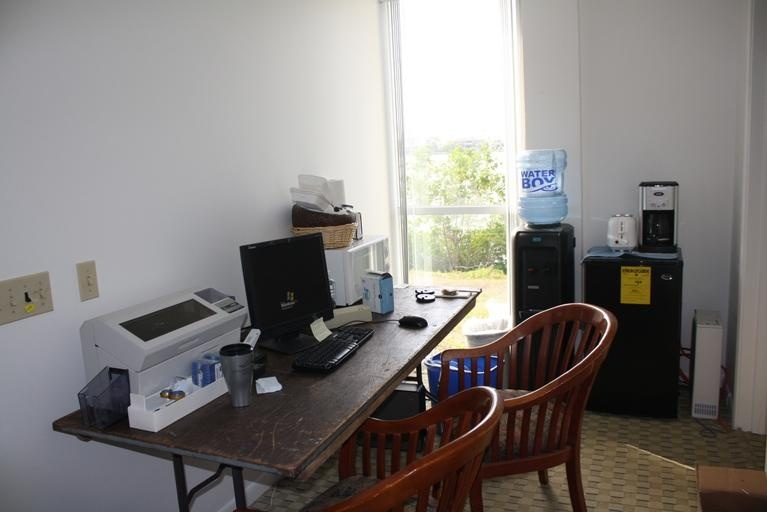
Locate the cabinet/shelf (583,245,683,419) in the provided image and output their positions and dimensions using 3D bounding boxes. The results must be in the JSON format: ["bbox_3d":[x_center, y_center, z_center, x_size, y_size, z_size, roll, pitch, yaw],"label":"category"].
[{"bbox_3d":[1.913,0.476,3.812,0.743,1.049,0.698,1,8,43],"label":"cabinet/shelf"}]

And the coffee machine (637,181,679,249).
[{"bbox_3d":[1.899,-0.276,3.707,0.227,0.464,0.267,3,11,31],"label":"coffee machine"}]

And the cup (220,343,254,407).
[{"bbox_3d":[-0.639,0.533,2.379,0.160,0.244,0.156,-5,-2,0],"label":"cup"}]

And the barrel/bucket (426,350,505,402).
[{"bbox_3d":[0.529,0.809,3.635,0.489,0.339,0.410,-2,2,23],"label":"barrel/bucket"}]

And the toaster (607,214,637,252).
[{"bbox_3d":[1.673,-0.165,3.866,0.208,0.257,0.275,0,7,4],"label":"toaster"}]

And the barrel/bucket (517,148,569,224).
[{"bbox_3d":[1.221,-0.518,4.158,0.393,0.570,0.404,-2,7,0],"label":"barrel/bucket"}]

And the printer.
[{"bbox_3d":[-1.003,0.425,2.547,0.487,0.424,0.658,8,14,20],"label":"printer"}]

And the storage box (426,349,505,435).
[{"bbox_3d":[0.533,0.882,3.634,0.530,0.349,0.454,-3,0,14],"label":"storage box"}]

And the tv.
[{"bbox_3d":[-0.504,0.217,2.806,0.315,0.575,0.548,2,14,43],"label":"tv"}]

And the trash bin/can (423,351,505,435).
[{"bbox_3d":[0.534,0.906,3.661,0.536,0.353,0.444,-1,2,16],"label":"trash bin/can"}]

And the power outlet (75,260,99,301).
[{"bbox_3d":[-1.355,0.114,2.459,0.020,0.181,0.109,-6,2,25],"label":"power outlet"}]
